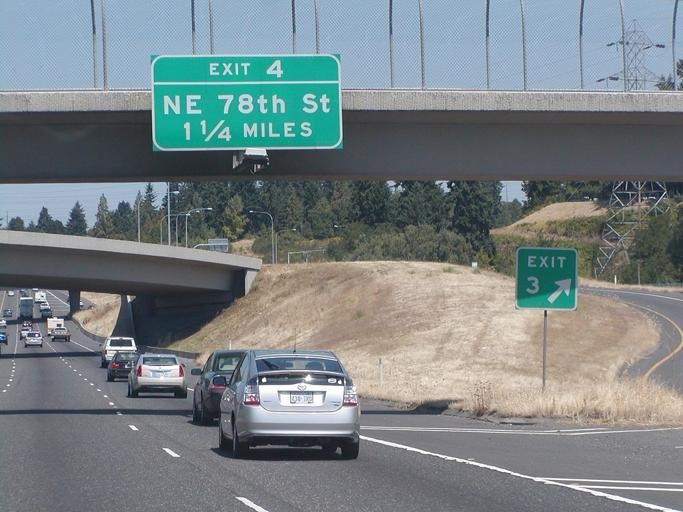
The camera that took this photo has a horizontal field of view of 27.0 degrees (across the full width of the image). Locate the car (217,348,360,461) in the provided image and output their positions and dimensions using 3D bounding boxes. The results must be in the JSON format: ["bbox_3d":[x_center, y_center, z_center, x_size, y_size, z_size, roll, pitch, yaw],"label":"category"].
[{"bbox_3d":[-1.641,4.034,40.233,3.136,2.504,7.707,0,-2,-12],"label":"car"}]

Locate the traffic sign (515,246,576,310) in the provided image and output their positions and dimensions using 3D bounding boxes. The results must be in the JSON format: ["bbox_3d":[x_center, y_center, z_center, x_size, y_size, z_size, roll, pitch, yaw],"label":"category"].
[{"bbox_3d":[6.617,0.749,46.261,1.682,2.023,0.121,1,1,1],"label":"traffic sign"}]
